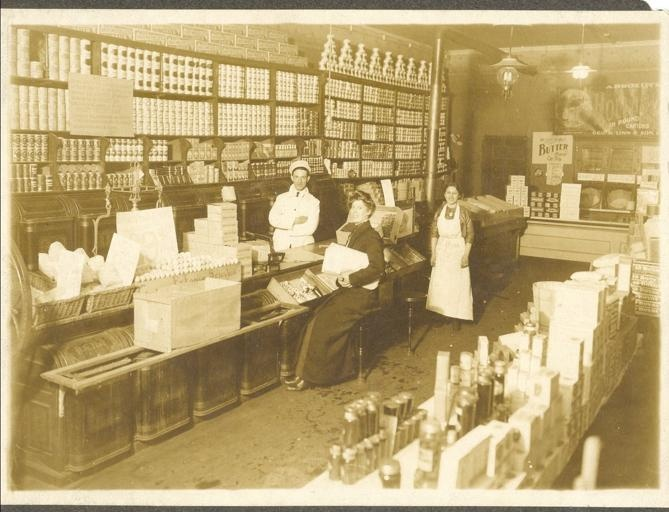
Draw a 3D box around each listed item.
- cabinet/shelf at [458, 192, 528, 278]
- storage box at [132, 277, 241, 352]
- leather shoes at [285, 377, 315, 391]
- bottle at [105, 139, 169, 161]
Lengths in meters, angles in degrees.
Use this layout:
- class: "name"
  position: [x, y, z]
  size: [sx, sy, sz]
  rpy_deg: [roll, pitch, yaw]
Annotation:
- class: "cabinet/shelf"
  position: [2.585, -0.288, 9.217]
  size: [0.584, 1.023, 1.338]
  rpy_deg: [9, 18, 31]
- class: "storage box"
  position: [-0.935, 0.398, 4.096]
  size: [0.573, 0.294, 0.306]
  rpy_deg: [-9, 4, -18]
- class: "leather shoes"
  position: [-0.318, 1.155, 5.223]
  size: [0.261, 0.110, 0.108]
  rpy_deg: [5, 16, 21]
- class: "bottle"
  position: [-2.150, -1.157, 6.224]
  size: [0.144, 0.242, 0.839]
  rpy_deg: [3, 11, 22]
